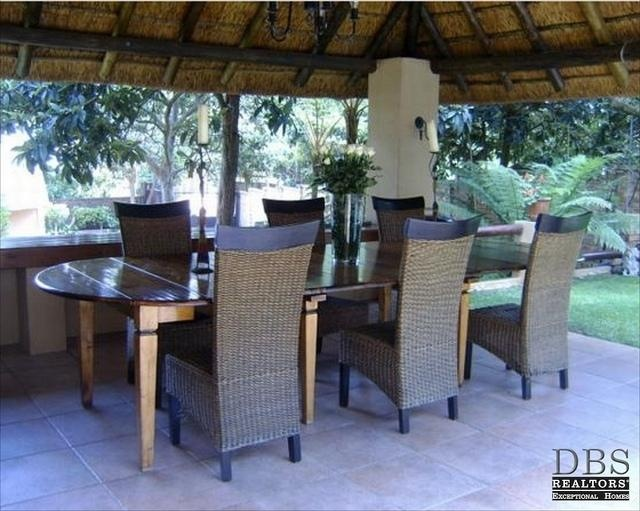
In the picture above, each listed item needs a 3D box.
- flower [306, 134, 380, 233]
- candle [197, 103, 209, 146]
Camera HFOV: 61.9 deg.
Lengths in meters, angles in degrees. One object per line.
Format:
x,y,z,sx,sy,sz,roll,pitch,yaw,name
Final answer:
0.170,-0.459,3.338,0.394,0.477,0.371,2,11,7,flower
-0.626,-0.700,2.877,0.051,0.216,0.063,-3,12,-22,candle
